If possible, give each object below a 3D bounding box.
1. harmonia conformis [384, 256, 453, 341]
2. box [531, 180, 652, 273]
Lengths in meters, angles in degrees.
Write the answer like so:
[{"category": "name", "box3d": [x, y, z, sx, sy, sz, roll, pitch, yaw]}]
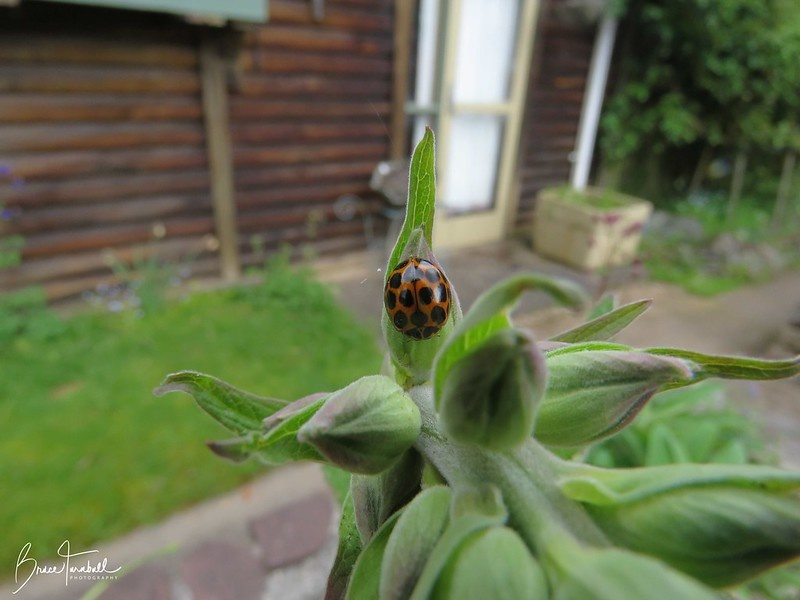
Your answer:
[{"category": "harmonia conformis", "box3d": [0.011, 0.000, 0.349, 0.040, 0.046, 0.027, -1, 26, -3]}, {"category": "box", "box3d": [0.158, -0.058, 0.484, 0.085, 0.051, 0.090, 17, 24, 40]}]
